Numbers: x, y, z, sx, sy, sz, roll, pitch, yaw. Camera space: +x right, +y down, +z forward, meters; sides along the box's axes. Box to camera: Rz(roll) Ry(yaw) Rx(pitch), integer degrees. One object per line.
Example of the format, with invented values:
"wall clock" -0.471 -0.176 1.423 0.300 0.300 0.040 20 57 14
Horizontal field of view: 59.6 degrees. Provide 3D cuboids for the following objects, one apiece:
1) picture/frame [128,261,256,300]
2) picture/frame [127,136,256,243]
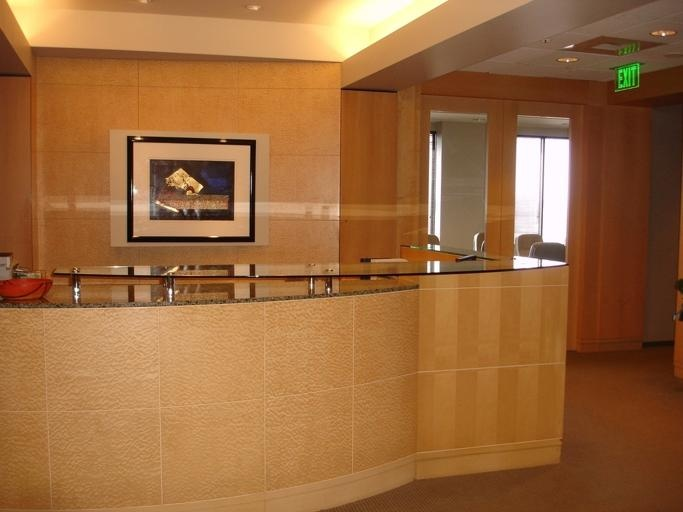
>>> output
"picture/frame" -1.027 0.165 4.140 0.874 0.138 0.704 -1 8 -9
"picture/frame" -1.714 -0.771 6.565 1.173 0.985 0.082 0 3 -9
